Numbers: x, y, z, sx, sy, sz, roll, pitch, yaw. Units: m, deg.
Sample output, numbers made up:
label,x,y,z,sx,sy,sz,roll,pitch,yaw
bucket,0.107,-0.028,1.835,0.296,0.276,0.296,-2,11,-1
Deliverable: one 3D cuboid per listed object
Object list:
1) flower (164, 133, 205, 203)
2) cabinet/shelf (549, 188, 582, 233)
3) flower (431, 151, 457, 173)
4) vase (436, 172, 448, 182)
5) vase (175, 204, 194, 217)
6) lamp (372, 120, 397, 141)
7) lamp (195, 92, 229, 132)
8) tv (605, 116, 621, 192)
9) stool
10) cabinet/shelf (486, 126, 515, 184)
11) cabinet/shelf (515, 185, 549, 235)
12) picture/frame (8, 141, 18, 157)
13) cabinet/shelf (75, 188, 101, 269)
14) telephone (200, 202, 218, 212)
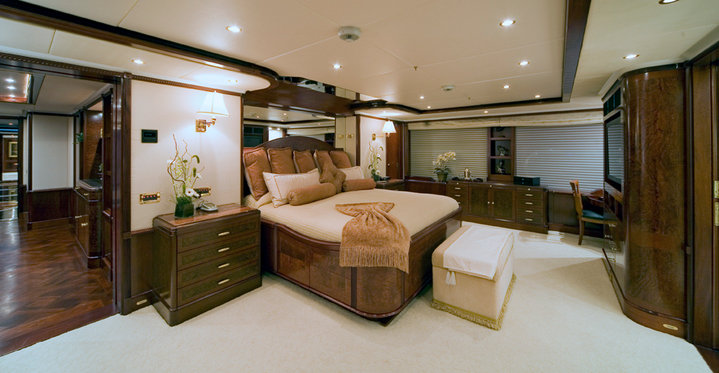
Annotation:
label,x,y,z,sx,sy,sz,roll,pitch,yaw
flower,-3.128,-0.369,7.332,0.646,1.160,0.382,-6,9,-21
cabinet/shelf,4.984,0.498,9.880,0.762,0.981,0.743,-20,21,-29
flower,2.298,-0.671,11.072,0.719,0.721,0.629,0,4,16
vase,2.217,-0.259,10.944,0.280,0.165,0.260,1,2,17
vase,-3.079,0.395,7.285,0.254,0.265,0.417,0,0,25
lamp,0.619,-1.495,10.781,0.535,0.444,0.739,0,-1,-37
lamp,-2.703,-1.319,7.488,0.485,0.573,0.455,-3,-1,-30
tv,4.782,-0.641,7.663,0.137,1.229,1.600,-1,3,21
stool,2.174,1.568,7.850,1.539,0.886,2.023,6,14,28
cabinet/shelf,3.682,-0.890,10.558,0.720,1.457,0.203,4,11,37
cabinet/shelf,4.300,0.490,10.018,0.703,0.985,0.728,-11,11,-38
picture/frame,-8.763,-0.953,10.293,0.093,0.392,0.156,3,10,34
cabinet/shelf,-5.474,0.757,8.272,0.358,1.607,1.230,-10,11,-40
telephone,-2.780,0.371,7.502,0.281,0.094,0.200,1,4,32
